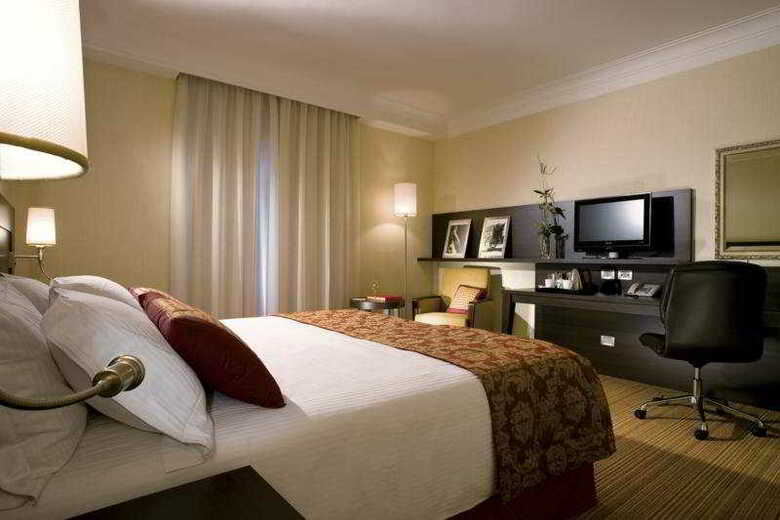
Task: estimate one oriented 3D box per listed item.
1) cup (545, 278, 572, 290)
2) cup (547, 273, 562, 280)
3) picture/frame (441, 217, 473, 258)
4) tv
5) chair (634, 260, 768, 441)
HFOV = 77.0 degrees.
[{"bbox_3d":[1.716,0.249,4.996,0.175,0.072,0.119,-1,-1,-31],"label":"cup"},{"bbox_3d":[1.724,0.177,5.148,0.082,0.063,0.066,-3,4,-32],"label":"cup"},{"bbox_3d":[0.878,-0.282,6.389,0.026,0.686,0.549,18,-10,-27],"label":"picture/frame"},{"bbox_3d":[2.195,-0.324,4.786,0.210,0.576,0.639,3,-4,-41],"label":"tv"},{"bbox_3d":[2.288,0.623,3.593,0.806,1.231,0.560,1,4,21],"label":"chair"}]
